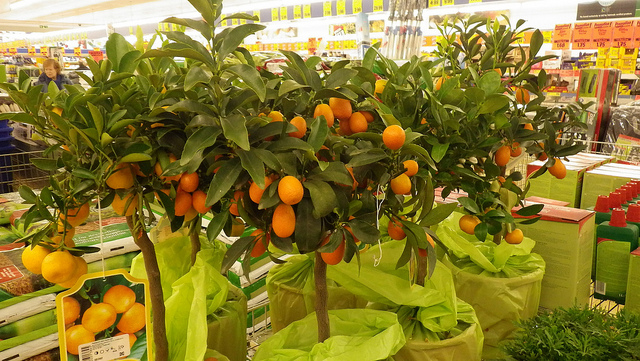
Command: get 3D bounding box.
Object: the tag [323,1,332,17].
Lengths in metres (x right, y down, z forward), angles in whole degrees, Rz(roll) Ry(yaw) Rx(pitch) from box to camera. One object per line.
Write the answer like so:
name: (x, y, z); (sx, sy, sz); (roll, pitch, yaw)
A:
tag: (0.128, -3.276, 7.449); (0.175, 0.265, 0.056); (2, 17, 13)

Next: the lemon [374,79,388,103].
lemon: (0.233, -0.374, 1.595); (0.078, 0.065, 0.089); (-8, 42, 12)

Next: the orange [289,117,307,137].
orange: (-0.064, -0.173, 1.283); (0.059, 0.067, 0.058); (-1, 9, 8)

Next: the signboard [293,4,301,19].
signboard: (-0.471, -3.335, 7.718); (0.230, 0.237, 0.212); (-8, 18, -17)

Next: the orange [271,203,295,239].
orange: (-0.117, 0.134, 1.256); (0.078, 0.117, 0.077); (-2, 4, -2)

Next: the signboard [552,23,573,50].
signboard: (3.280, -1.962, 5.324); (0.213, 0.326, 0.110); (6, 18, 27)

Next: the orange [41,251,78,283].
orange: (-0.861, 0.292, 1.300); (0.125, 0.117, 0.112); (-6, -15, 14)

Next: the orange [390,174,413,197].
orange: (0.269, 0.009, 1.365); (0.071, 0.070, 0.084); (6, -25, 24)

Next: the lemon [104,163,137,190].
lemon: (-0.637, -0.005, 1.265); (0.085, 0.082, 0.095); (7, -8, -3)

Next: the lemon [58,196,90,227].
lemon: (-0.827, 0.099, 1.319); (0.088, 0.124, 0.088); (-13, 19, -33)

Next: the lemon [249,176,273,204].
lemon: (-0.201, 0.023, 1.298); (0.080, 0.094, 0.082); (12, 14, 35)

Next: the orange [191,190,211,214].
orange: (-0.395, 0.065, 1.292); (0.047, 0.075, 0.050); (-18, 10, 8)

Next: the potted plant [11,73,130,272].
potted plant: (-0.836, -0.049, 1.341); (0.345, 0.623, 0.416); (-10, 18, -25)

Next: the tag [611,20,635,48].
tag: (3.877, -1.880, 5.030); (0.229, 0.331, 0.165); (9, 19, 33)

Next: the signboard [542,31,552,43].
signboard: (3.179, -2.031, 5.518); (0.114, 0.162, 0.251); (7, 19, 28)

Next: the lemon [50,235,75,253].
lemon: (-0.860, 0.215, 1.330); (0.058, 0.055, 0.066); (1, -15, -3)

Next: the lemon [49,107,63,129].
lemon: (-0.873, -0.209, 1.299); (0.040, 0.066, 0.157); (-12, 19, -31)

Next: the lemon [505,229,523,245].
lemon: (0.905, 0.262, 1.864); (0.072, 0.068, 0.073); (15, 12, 12)

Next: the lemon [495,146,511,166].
lemon: (0.784, -0.109, 1.693); (0.051, 0.079, 0.053); (8, 28, 2)

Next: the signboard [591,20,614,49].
signboard: (3.683, -1.907, 5.134); (0.230, 0.333, 0.164); (8, 19, 31)

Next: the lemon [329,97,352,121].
lemon: (0.067, -0.248, 1.334); (0.044, 0.041, 0.071); (-31, 52, -4)

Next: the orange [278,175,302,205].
orange: (-0.094, 0.030, 1.206); (0.080, 0.094, 0.079); (4, 12, -3)

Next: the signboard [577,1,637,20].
signboard: (3.783, -2.279, 5.211); (0.631, 0.237, 0.157); (10, 20, 35)

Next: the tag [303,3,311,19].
tag: (-0.274, -3.316, 7.634); (0.163, 0.268, 0.042); (1, 16, 10)

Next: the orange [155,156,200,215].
orange: (-0.458, 0.014, 1.289); (0.124, 0.208, 0.099); (0, 12, 12)

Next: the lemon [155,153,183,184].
lemon: (-0.507, -0.045, 1.292); (0.091, 0.086, 0.106); (1, -2, -4)

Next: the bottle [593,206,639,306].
bottle: (1.779, 0.451, 2.389); (0.192, 0.563, 0.164); (10, 20, 36)

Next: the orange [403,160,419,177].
orange: (0.305, -0.045, 1.322); (0.050, 0.056, 0.050); (-6, 16, 16)

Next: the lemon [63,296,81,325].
lemon: (-0.882, 0.449, 1.368); (0.073, 0.085, 0.070); (1, -10, -32)

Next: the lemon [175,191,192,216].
lemon: (-0.462, 0.075, 1.318); (0.056, 0.078, 0.022); (-2, 16, -2)

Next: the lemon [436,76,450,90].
lemon: (0.526, -0.430, 1.725); (0.060, 0.068, 0.059); (0, 8, 6)

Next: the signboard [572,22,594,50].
signboard: (3.491, -1.934, 5.236); (0.223, 0.337, 0.147); (7, 18, 28)

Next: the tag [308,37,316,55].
tag: (-0.180, -2.707, 7.801); (0.157, 0.295, 0.418); (-2, 16, 1)

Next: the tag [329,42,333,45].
tag: (0.193, -2.571, 7.326); (0.055, 0.022, 0.073); (-4, 2, -4)

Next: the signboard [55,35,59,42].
signboard: (-8.198, -4.428, 12.201); (0.176, 0.170, 0.048); (-2, -2, 15)

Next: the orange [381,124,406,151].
orange: (0.241, -0.140, 1.276); (0.091, 0.085, 0.088); (4, -17, 3)

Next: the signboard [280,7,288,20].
signboard: (-0.756, -3.374, 7.911); (0.201, 0.231, 0.038); (10, 20, 36)

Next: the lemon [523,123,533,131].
lemon: (0.914, -0.241, 1.729); (0.036, 0.029, 0.107); (7, 19, 28)

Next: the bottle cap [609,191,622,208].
bottle cap: (1.890, 0.113, 2.518); (0.092, 0.085, 0.082); (-25, 27, -34)

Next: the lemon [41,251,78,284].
lemon: (-0.834, 0.271, 1.271); (0.113, 0.098, 0.110); (4, -4, -20)

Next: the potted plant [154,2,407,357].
potted plant: (-0.143, 0.088, 1.613); (0.812, 1.469, 0.853); (-7, 17, -17)
